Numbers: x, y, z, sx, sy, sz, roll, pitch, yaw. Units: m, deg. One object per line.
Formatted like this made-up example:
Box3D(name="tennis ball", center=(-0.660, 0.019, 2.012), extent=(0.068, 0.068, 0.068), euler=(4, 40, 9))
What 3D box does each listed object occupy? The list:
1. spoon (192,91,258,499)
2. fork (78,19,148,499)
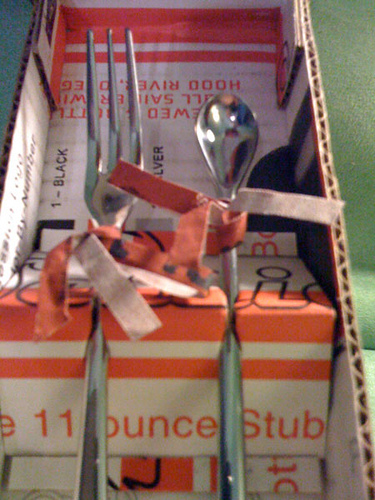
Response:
Box3D(name="spoon", center=(0.025, 0.025, 0.373), extent=(0.037, 0.349, 0.034), euler=(2, -9, 1))
Box3D(name="fork", center=(-0.063, -0.003, 0.432), extent=(0.050, 0.050, 0.544), euler=(0, 68, -8))
